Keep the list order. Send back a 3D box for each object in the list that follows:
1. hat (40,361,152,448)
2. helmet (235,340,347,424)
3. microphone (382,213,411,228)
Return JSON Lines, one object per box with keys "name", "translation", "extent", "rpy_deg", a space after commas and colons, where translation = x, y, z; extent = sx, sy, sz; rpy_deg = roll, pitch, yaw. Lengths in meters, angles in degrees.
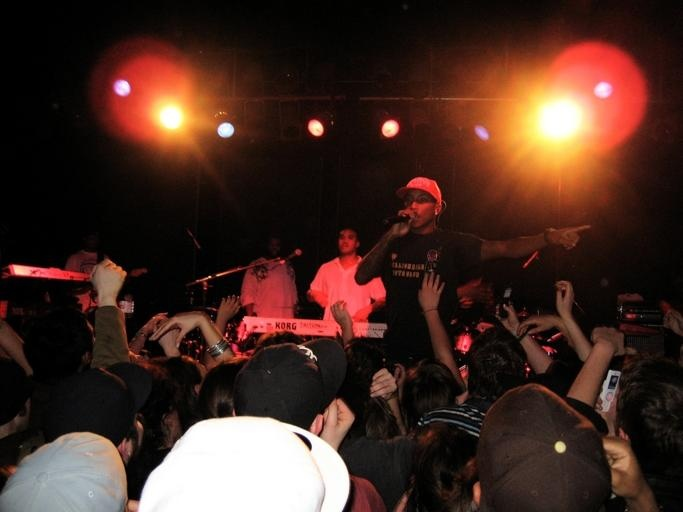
{"name": "hat", "translation": [-1.249, 0.747, 2.664], "extent": [0.339, 0.204, 0.337], "rpy_deg": [36, 27, 5]}
{"name": "helmet", "translation": [-0.212, 0.559, 2.395], "extent": [0.487, 0.389, 0.291], "rpy_deg": [11, -14, -41]}
{"name": "microphone", "translation": [0.577, -0.342, 5.127], "extent": [0.112, 0.126, 0.449], "rpy_deg": [-1, -1, 43]}
